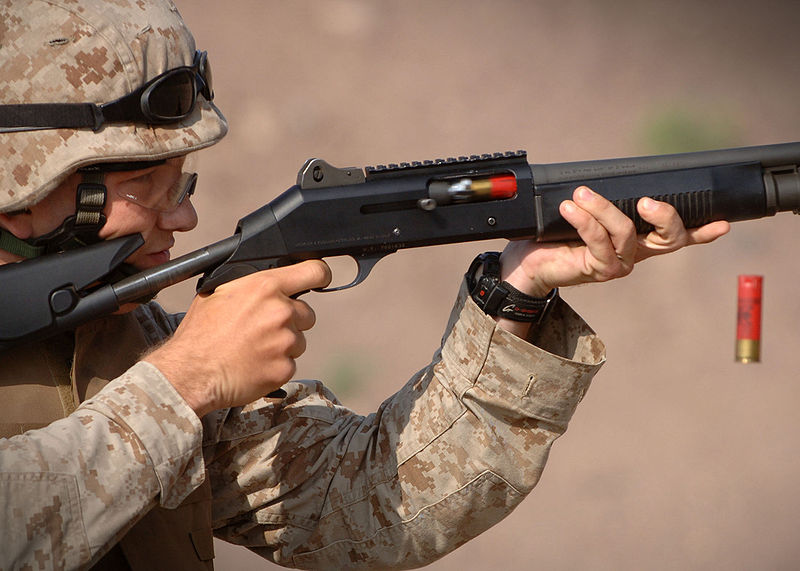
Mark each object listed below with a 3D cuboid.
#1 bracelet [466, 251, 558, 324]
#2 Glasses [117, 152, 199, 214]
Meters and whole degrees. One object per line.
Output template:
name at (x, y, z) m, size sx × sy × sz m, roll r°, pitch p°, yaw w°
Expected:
bracelet at (0.338, 0.046, 3.166) m, size 0.268 × 0.227 × 0.135 m, roll 20°, pitch -64°, yaw -22°
Glasses at (-0.702, -0.314, 3.041) m, size 0.292 × 0.207 × 0.082 m, roll 10°, pitch -71°, yaw 22°
